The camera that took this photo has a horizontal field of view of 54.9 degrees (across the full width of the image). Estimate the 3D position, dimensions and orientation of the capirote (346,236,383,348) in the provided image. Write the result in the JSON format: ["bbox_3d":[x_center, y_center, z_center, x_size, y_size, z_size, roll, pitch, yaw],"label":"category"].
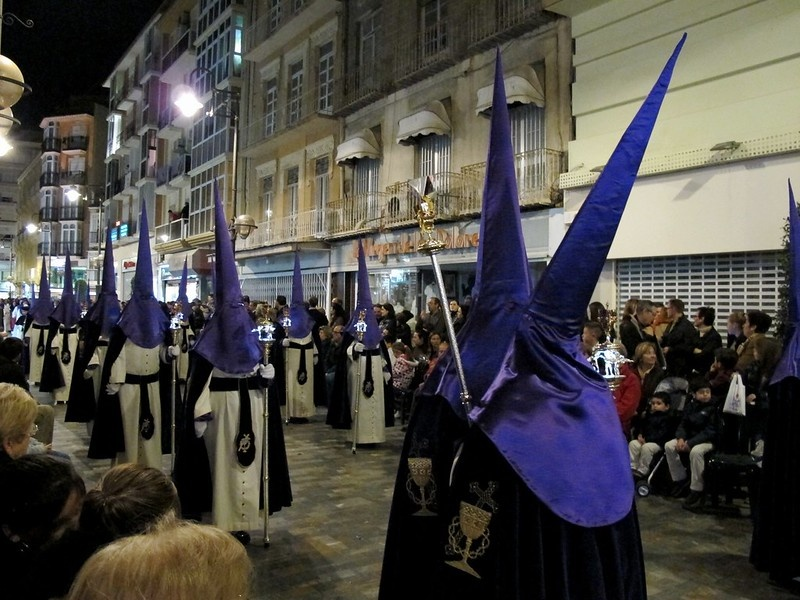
[{"bbox_3d":[-0.640,-0.132,12.892,0.505,1.758,0.459,3,-2,-27],"label":"capirote"}]

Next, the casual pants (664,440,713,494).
[{"bbox_3d":[3.608,2.068,9.788,0.506,0.615,0.516,-1,0,25],"label":"casual pants"}]

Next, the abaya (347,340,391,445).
[{"bbox_3d":[-0.557,1.378,12.667,0.816,1.957,0.593,8,-19,-35],"label":"abaya"}]

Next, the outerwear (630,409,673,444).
[{"bbox_3d":[3.294,1.678,10.300,0.359,0.532,0.521,24,-10,-16],"label":"outerwear"}]

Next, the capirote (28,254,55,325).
[{"bbox_3d":[-8.183,-0.121,17.805,0.684,1.436,0.384,-1,15,-30],"label":"capirote"}]

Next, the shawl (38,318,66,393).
[{"bbox_3d":[-7.376,1.245,16.399,0.459,1.581,0.621,-1,3,-28],"label":"shawl"}]

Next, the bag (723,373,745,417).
[{"bbox_3d":[4.015,1.151,9.380,0.224,0.514,0.224,1,3,21],"label":"bag"}]

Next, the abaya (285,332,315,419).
[{"bbox_3d":[-1.898,1.258,14.739,0.659,2.126,0.498,1,-5,-8],"label":"abaya"}]

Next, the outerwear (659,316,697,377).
[{"bbox_3d":[4.087,0.739,11.508,0.351,1.112,0.424,23,-23,-9],"label":"outerwear"}]

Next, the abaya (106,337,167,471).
[{"bbox_3d":[-3.416,1.206,10.264,0.742,2.305,0.573,3,-8,-29],"label":"abaya"}]

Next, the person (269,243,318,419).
[{"bbox_3d":[-1.966,0.765,14.860,0.785,2.943,0.755,-3,7,-20],"label":"person"}]

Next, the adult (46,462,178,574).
[{"bbox_3d":[-1.874,1.508,5.218,0.667,0.735,0.606,5,4,-2],"label":"adult"}]

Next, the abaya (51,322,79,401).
[{"bbox_3d":[-7.174,1.260,16.597,0.632,2.040,0.531,-3,-5,28],"label":"abaya"}]

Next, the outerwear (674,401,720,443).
[{"bbox_3d":[3.708,1.588,9.812,0.542,0.675,0.505,4,-2,-8],"label":"outerwear"}]

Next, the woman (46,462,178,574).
[{"bbox_3d":[-1.877,1.425,5.225,0.667,0.735,0.606,5,4,-2],"label":"woman"}]

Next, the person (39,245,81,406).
[{"bbox_3d":[-7.190,0.651,16.638,0.887,3.041,0.859,7,7,30],"label":"person"}]
